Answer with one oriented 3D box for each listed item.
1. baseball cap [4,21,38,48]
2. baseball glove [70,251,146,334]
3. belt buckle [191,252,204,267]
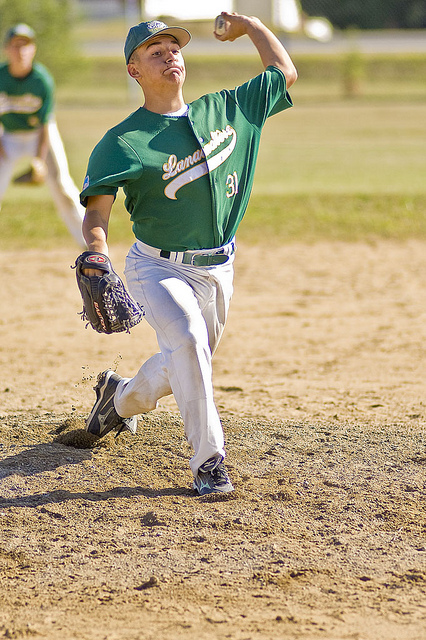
[{"bbox_3d":[-1.554,-2.276,6.599,0.235,0.221,0.422,-4,13,-15],"label":"baseball cap"},{"bbox_3d":[-0.382,-0.102,3.006,0.239,0.302,0.228,-3,17,-9],"label":"baseball glove"},{"bbox_3d":[-0.053,-0.226,3.109,0.051,0.039,0.012,-4,21,-28],"label":"belt buckle"}]
